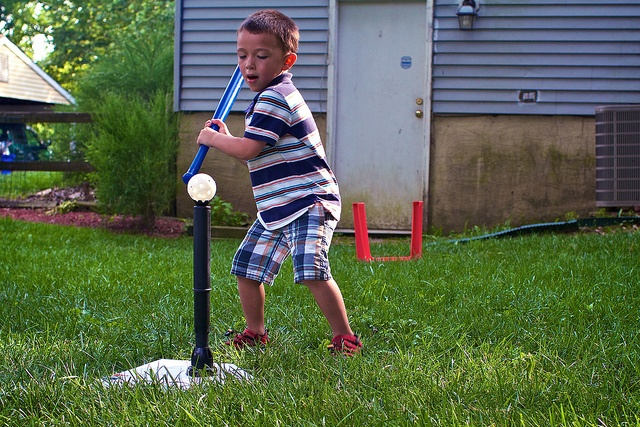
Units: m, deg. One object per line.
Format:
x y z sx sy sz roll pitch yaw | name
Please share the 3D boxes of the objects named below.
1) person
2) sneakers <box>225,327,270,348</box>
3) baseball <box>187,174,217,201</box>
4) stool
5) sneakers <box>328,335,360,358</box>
-0.301 -0.273 5.866 1.104 2.706 0.385 1 1 -1 | person
-0.585 1.003 6.002 0.357 0.184 0.144 2 -7 -5 | sneakers
-0.859 -0.193 5.410 0.160 0.233 0.188 0 3 8 | baseball
0.737 0.186 8.039 0.752 0.643 0.593 2 1 9 | stool
0.190 1.031 5.795 0.254 0.137 0.121 1 14 4 | sneakers
